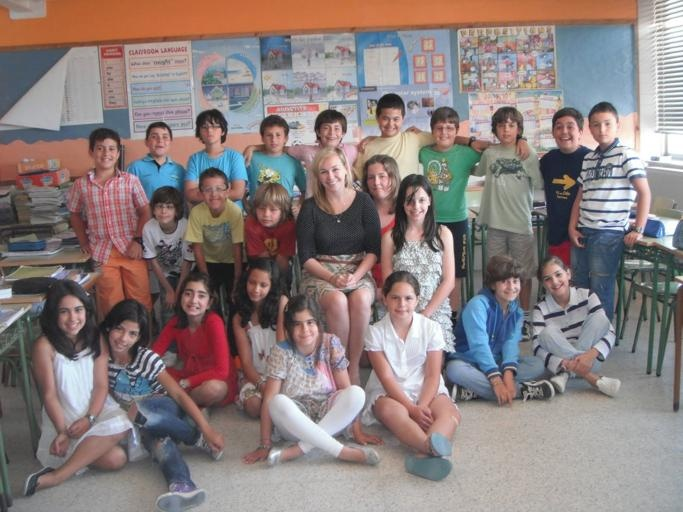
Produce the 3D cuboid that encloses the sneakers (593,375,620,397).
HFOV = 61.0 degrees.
[{"bbox_3d":[1.501,0.728,3.292,0.054,0.076,0.134,2,8,-33],"label":"sneakers"}]

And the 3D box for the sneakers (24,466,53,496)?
[{"bbox_3d":[-1.392,1.034,2.681,0.058,0.172,0.067,11,-22,3],"label":"sneakers"}]

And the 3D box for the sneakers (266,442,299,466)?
[{"bbox_3d":[-0.284,0.956,2.830,0.149,0.061,0.080,-11,45,-26],"label":"sneakers"}]

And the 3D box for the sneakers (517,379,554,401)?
[{"bbox_3d":[1.090,0.744,3.249,0.180,0.098,0.079,-15,-14,10],"label":"sneakers"}]

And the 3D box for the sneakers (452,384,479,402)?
[{"bbox_3d":[0.693,0.779,3.339,0.190,0.088,0.069,-1,9,-7],"label":"sneakers"}]

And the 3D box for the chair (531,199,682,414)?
[{"bbox_3d":[1.376,0.408,3.464,0.571,0.859,0.727,-15,10,6],"label":"chair"}]

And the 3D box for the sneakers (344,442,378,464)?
[{"bbox_3d":[0.100,0.946,2.796,0.153,0.077,0.044,6,3,16],"label":"sneakers"}]

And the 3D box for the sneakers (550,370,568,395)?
[{"bbox_3d":[1.251,0.717,3.347,0.070,0.062,0.164,-23,2,-4],"label":"sneakers"}]

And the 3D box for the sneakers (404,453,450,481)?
[{"bbox_3d":[0.402,0.963,2.695,0.189,0.099,0.076,3,5,22],"label":"sneakers"}]

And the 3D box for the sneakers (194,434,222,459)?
[{"bbox_3d":[-0.656,0.941,2.874,0.084,0.067,0.194,40,-3,-39],"label":"sneakers"}]
